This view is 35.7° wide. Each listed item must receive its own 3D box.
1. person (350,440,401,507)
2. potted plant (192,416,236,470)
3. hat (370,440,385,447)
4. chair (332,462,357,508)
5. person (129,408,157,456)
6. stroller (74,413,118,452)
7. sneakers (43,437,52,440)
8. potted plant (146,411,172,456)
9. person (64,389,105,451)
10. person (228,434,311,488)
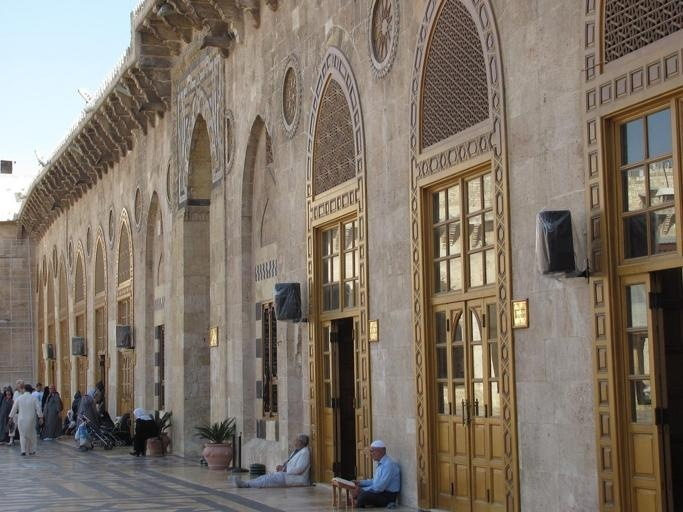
[{"bbox_3d":[0.514,3.333,16.080,0.714,1.184,0.868,1,-14,-3],"label":"person"},{"bbox_3d":[-2.584,3.848,21.766,0.858,1.054,0.974,0,-13,-1],"label":"potted plant"},{"bbox_3d":[0.548,2.802,15.735,0.130,0.139,0.109,4,-2,12],"label":"hat"},{"bbox_3d":[0.084,3.512,15.828,0.357,0.513,0.397,3,-8,-18],"label":"chair"},{"bbox_3d":[-4.721,4.142,25.020,0.593,1.122,0.420,2,14,15],"label":"person"},{"bbox_3d":[-6.362,4.496,27.449,0.974,1.076,0.757,3,1,-20],"label":"stroller"},{"bbox_3d":[-8.786,5.446,31.498,0.292,0.136,0.092,-11,-12,37],"label":"sneakers"},{"bbox_3d":[-4.349,4.176,25.198,0.428,0.836,0.671,-3,-1,7],"label":"potted plant"},{"bbox_3d":[-7.034,4.545,28.965,0.667,1.761,1.417,6,-17,-25],"label":"person"},{"bbox_3d":[-1.180,3.548,18.175,1.317,0.986,0.701,1,-13,-21],"label":"person"}]
